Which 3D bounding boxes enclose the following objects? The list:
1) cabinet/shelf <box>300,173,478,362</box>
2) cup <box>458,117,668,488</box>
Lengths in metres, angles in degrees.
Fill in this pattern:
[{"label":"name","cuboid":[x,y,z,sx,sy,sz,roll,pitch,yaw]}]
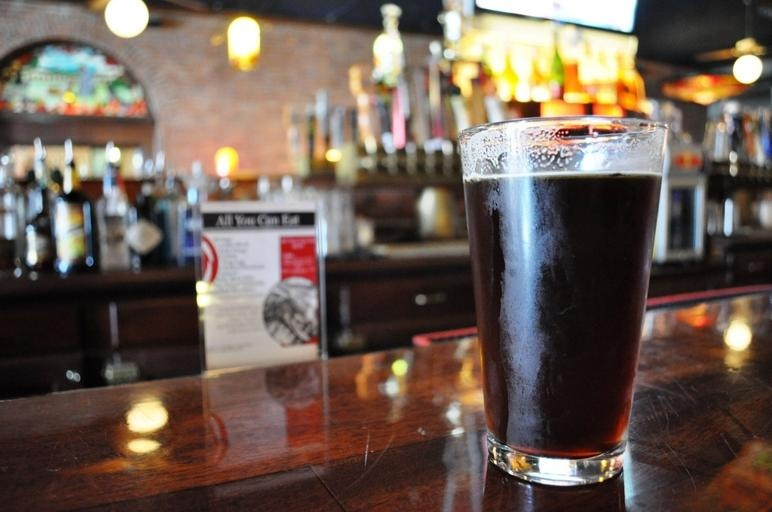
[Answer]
[{"label":"cabinet/shelf","cuboid":[-0.045,0.065,3.109,0.899,0.769,0.481,-1,-9,-37]},{"label":"cup","cuboid":[0.204,0.045,0.744,0.234,0.405,0.145,-1,8,15]}]
